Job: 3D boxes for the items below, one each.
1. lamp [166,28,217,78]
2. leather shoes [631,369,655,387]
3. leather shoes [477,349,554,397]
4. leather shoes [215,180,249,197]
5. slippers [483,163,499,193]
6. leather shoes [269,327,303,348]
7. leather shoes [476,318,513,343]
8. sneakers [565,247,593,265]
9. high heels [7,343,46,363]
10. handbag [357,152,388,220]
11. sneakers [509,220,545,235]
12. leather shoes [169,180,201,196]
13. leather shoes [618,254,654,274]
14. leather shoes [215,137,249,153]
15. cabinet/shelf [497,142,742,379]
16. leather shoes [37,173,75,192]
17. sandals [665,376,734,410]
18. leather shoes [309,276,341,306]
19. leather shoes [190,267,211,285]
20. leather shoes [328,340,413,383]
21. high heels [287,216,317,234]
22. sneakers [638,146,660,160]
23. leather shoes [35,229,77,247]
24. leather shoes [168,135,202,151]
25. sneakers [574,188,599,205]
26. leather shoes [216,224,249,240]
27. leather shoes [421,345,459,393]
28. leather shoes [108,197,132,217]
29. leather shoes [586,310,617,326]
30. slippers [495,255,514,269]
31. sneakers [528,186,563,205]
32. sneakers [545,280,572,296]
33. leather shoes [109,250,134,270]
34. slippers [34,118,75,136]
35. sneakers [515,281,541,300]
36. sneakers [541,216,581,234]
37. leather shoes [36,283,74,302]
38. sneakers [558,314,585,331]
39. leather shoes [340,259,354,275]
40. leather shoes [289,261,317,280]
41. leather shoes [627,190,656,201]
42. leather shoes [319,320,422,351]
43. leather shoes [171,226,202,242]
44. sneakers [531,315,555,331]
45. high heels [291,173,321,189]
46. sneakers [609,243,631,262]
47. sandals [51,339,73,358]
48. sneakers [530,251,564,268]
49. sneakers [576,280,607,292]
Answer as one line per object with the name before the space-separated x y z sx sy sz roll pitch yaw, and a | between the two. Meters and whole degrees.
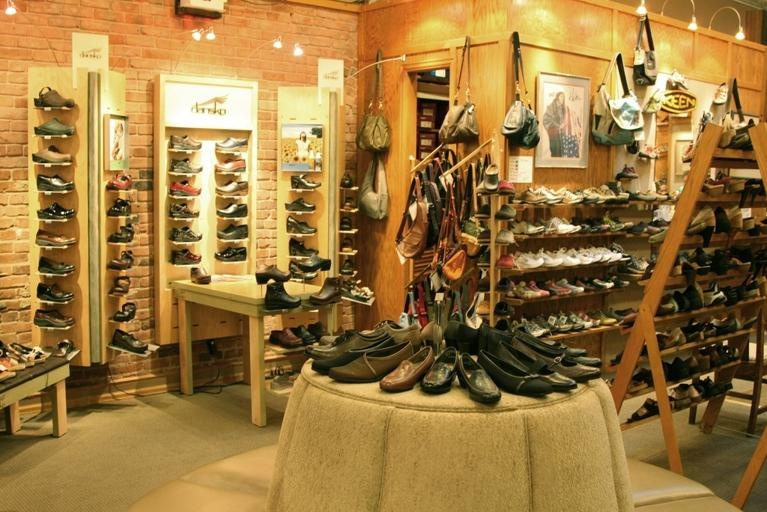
lamp | -1.905 -2.098 5.832 0.485 0.478 0.366 -3 9 -22
leather shoes | 1.984 0.935 4.447 0.099 0.063 0.170 -4 12 29
leather shoes | 0.505 0.441 2.258 0.289 0.111 0.108 15 9 29
leather shoes | -1.562 -0.702 5.985 0.335 0.128 0.124 1 2 -37
slippers | 0.949 -0.693 5.131 0.151 0.241 0.179 2 9 11
leather shoes | -0.936 0.783 5.552 0.141 0.141 0.371 -2 4 -38
leather shoes | 0.520 0.336 2.612 0.071 0.081 0.211 4 4 32
sneakers | 1.874 0.004 5.791 0.138 0.148 0.371 -1 1 -36
high heels | -2.914 0.794 4.712 0.264 0.093 0.159 11 8 -1
handbag | -0.098 -0.793 6.536 0.303 0.702 0.192 -4 10 -28
sneakers | 1.335 -0.268 5.443 0.335 0.136 0.131 3 4 13
leather shoes | -1.984 -0.668 5.770 0.329 0.140 0.122 -4 14 -29
leather shoes | 2.713 0.086 6.223 0.319 0.114 0.223 -1 3 -9
leather shoes | -1.566 -1.139 5.993 0.355 0.123 0.136 -2 4 -42
cabinet/shelf | 1.984 0.025 5.060 2.749 2.408 0.878 0 3 -38
leather shoes | -2.883 -0.643 5.148 0.324 0.121 0.116 -2 5 -17
sandals | 2.555 1.101 4.812 0.302 0.139 0.393 -13 -3 -7
leather shoes | -0.533 0.327 5.302 0.336 0.240 0.143 -6 11 -36
leather shoes | -1.809 0.189 5.696 0.199 0.168 0.143 2 2 3
leather shoes | -0.045 0.446 2.379 0.346 0.091 0.129 -15 11 -34
high heels | -0.834 -0.317 6.248 0.407 0.201 0.133 2 5 2
sneakers | 3.026 -1.186 6.654 0.111 0.163 0.276 9 0 10
leather shoes | -2.867 -0.155 5.145 0.361 0.135 0.130 3 6 6
leather shoes | -1.961 -1.125 5.719 0.345 0.139 0.121 -3 10 -32
sneakers | 1.987 -0.595 5.797 0.137 0.154 0.378 -1 0 -16
leather shoes | -1.557 -0.247 6.011 0.271 0.111 0.139 2 4 -33
leather shoes | 0.223 0.455 2.270 0.079 0.078 0.219 -1 11 22
leather shoes | -2.437 -0.446 5.396 0.117 0.115 0.194 5 3 24
leather shoes | 2.237 0.637 5.962 0.244 0.084 0.141 2 2 30
slippers | 1.110 0.054 5.294 0.162 0.109 0.087 6 10 31
sneakers | 1.507 -0.562 5.456 0.223 0.106 0.295 -1 7 -25
sneakers | 1.717 0.320 5.705 0.137 0.093 0.239 0 -2 -31
leather shoes | -2.453 0.054 5.484 0.120 0.144 0.218 0 1 37
slippers | -2.878 -1.124 5.065 0.375 0.153 0.142 -3 6 -8
sneakers | 1.350 0.321 5.432 0.138 0.089 0.228 -12 13 -32
sneakers | 1.664 -0.319 5.572 0.212 0.102 0.290 -3 6 -37
leather shoes | -2.944 0.340 5.245 0.351 0.147 0.130 1 4 -6
sneakers | 1.841 0.661 5.731 0.152 0.085 0.217 -2 1 -33
leather shoes | -0.420 0.131 6.571 0.171 0.133 0.323 0 -3 -4
leather shoes | -0.866 0.158 5.995 0.150 0.168 0.429 1 -3 -35
leather shoes | 2.760 -0.631 6.189 0.239 0.068 0.172 1 4 8
leather shoes | -0.085 0.375 2.669 0.492 0.141 0.172 -8 -5 4
leather shoes | -1.989 -0.203 5.800 0.340 0.148 0.112 -2 10 -28
sneakers | 1.566 0.656 5.674 0.114 0.058 0.181 0 8 -33
high heels | -0.791 -0.786 6.192 0.385 0.180 0.124 0 10 -4
sneakers | 2.507 -0.054 6.203 0.124 0.147 0.349 -22 9 -11
sandals | -2.789 0.813 5.058 0.103 0.060 0.181 13 21 2
sneakers | 1.570 0.026 5.569 0.337 0.134 0.117 1 -2 7
sneakers | 2.115 0.308 5.928 0.308 0.118 0.110 0 -2 6
